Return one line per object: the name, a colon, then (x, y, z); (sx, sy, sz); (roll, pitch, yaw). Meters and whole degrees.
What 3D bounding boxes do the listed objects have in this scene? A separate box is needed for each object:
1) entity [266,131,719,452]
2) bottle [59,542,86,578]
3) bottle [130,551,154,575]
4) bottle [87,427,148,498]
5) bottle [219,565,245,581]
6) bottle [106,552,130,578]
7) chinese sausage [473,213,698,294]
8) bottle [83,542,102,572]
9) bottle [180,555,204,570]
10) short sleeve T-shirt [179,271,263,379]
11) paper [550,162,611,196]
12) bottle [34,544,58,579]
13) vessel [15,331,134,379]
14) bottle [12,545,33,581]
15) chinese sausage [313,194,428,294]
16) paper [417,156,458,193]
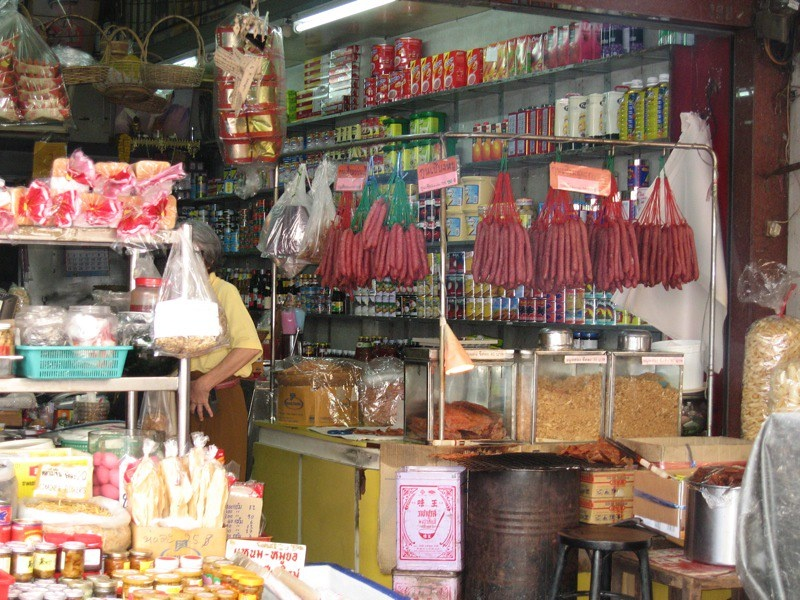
entity: (0.874, -0.003, 5.915); (1.684, 2.235, 2.190); (4, -6, -44)
bottle: (-1.022, 0.806, 3.090); (0.075, 0.120, 0.080); (6, 11, -1)
bottle: (-0.827, 0.841, 3.150); (0.055, 0.054, 0.055); (2, -2, -29)
bottle: (-1.095, 0.564, 3.679); (0.170, 0.139, 0.172); (0, 19, -33)
bottle: (-0.524, 0.847, 3.090); (0.043, 0.044, 0.044); (1, 1, 27)
bottle: (-0.896, 0.844, 3.153); (0.064, 0.069, 0.064); (4, -4, -40)
chinese sausage: (1.086, -0.351, 5.220); (0.837, 0.378, 0.554); (-2, 7, -4)
bottle: (-0.968, 0.810, 3.112); (0.070, 0.082, 0.072); (2, -6, -20)
bottle: (-0.660, 0.827, 3.116); (0.044, 0.025, 0.045); (0, -1, 0)
short sleeve T-shirt: (-0.908, 0.107, 5.007); (0.314, 0.570, 0.594); (-14, 9, -43)
paper: (0.935, -0.616, 5.085); (0.422, 0.154, 0.173); (-1, -2, -21)
bottle: (-1.084, 0.800, 3.024); (0.071, 0.100, 0.049); (0, -2, -22)
vessel: (-1.192, 0.230, 3.615); (0.392, 0.130, 0.092); (-1, -2, -20)
bottle: (-1.158, 0.814, 3.026); (0.069, 0.113, 0.070); (-6, -18, -2)
chinese sausage: (-0.118, -0.264, 5.147); (0.474, 0.536, 0.205); (-4, 0, 9)
paper: (0.191, -0.624, 4.878); (0.201, 0.154, 0.179); (-1, -2, 2)
